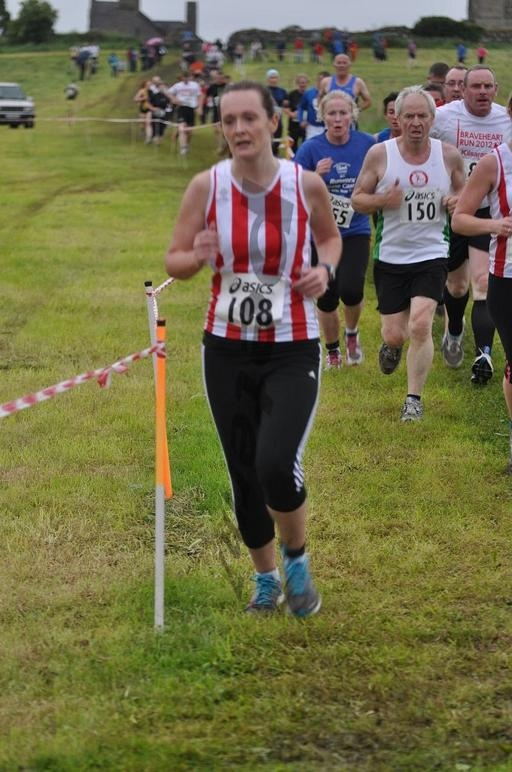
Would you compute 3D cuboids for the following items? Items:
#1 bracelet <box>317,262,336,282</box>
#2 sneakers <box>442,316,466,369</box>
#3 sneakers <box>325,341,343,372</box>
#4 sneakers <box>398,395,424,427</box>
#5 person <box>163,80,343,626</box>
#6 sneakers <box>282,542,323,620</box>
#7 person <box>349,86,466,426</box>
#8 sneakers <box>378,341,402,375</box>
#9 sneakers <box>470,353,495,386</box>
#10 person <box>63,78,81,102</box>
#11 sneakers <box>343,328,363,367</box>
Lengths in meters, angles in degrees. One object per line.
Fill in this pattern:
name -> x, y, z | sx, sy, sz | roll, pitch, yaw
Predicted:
bracelet -> 0.263, -0.414, 3.369 | 0.030, 0.054, 0.075 | -40, 30, -8
sneakers -> 1.494, -0.311, 7.104 | 0.138, 0.356, 0.152 | 2, 1, 14
sneakers -> 0.586, -0.227, 7.182 | 0.094, 0.231, 0.104 | -1, -11, 10
sneakers -> 0.958, 0.155, 5.816 | 0.165, 0.162, 0.421 | -1, 7, 10
person -> 0.016, -0.074, 3.311 | 0.618, 1.943, 0.483 | 0, 12, -7
sneakers -> 0.167, 0.752, 3.517 | 0.110, 0.196, 0.303 | -16, 3, -1
person -> 0.992, -0.830, 5.895 | 0.712, 1.991, 0.641 | 10, 14, 35
sneakers -> 0.929, -0.194, 6.533 | 0.104, 0.265, 0.120 | 0, 19, -2
sneakers -> 1.570, -0.127, 6.548 | 0.114, 0.273, 0.124 | 4, 56, 7
person -> -3.141, -5.077, 16.130 | 0.462, 0.405, 1.006 | -1, 16, -9
sneakers -> 0.739, -0.293, 7.153 | 0.112, 0.290, 0.139 | -3, -9, 4
